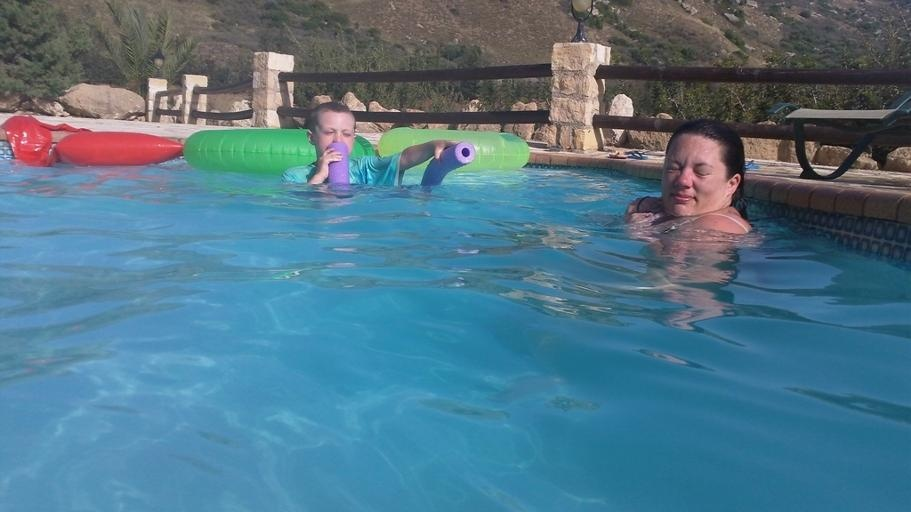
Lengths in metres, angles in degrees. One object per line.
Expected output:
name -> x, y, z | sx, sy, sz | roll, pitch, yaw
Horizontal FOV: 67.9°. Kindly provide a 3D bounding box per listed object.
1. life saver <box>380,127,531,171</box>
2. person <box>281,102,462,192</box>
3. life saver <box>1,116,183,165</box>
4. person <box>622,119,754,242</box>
life saver -> 0.029, -1.194, 7.411 | 1.553, 0.356, 0.672 | 2, 4, -15
person -> -0.820, -0.901, 5.492 | 1.548, 0.666, 0.676 | 13, 16, 39
life saver -> -3.401, -1.005, 6.292 | 1.202, 0.208, 0.722 | 3, 4, -20
person -> 1.486, -0.503, 4.284 | 0.776, 0.705, 0.585 | 12, 16, 33
